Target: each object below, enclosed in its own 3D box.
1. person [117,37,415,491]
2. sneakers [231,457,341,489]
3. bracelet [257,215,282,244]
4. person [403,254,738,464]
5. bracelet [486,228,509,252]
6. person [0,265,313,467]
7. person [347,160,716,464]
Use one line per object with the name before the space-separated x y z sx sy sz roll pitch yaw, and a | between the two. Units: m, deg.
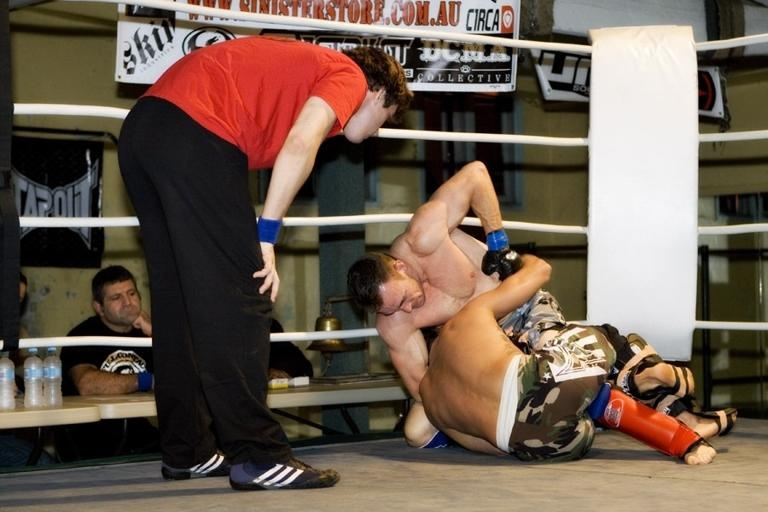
person | -0.501 0.024 3.776 1.021 1.770 0.546 -4 11 -16
sneakers | -0.398 0.851 3.809 0.436 0.176 0.146 -1 -6 -8
bracelet | -0.459 -0.105 3.748 0.099 0.101 0.094 4 4 28
person | 0.695 0.483 3.915 0.829 0.804 0.383 -17 -34 -3
bracelet | 0.530 -0.086 4.420 0.103 0.103 0.106 -6 4 -4
person | -1.572 0.678 5.282 1.312 0.566 1.287 0 -2 -45
person | 0.771 0.531 4.367 1.253 0.482 0.990 11 20 -12
